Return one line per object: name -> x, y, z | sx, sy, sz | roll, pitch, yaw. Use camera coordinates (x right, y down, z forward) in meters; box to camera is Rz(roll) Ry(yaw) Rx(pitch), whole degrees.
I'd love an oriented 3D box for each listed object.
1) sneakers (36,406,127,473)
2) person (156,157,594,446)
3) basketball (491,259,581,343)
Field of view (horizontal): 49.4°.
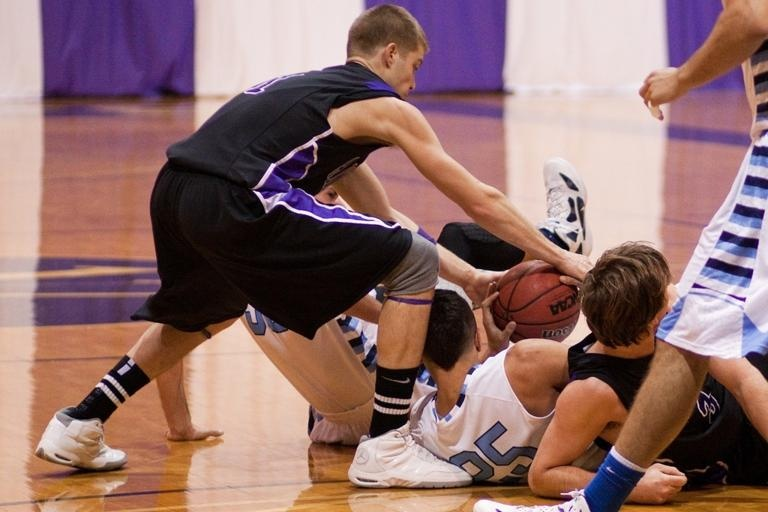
sneakers -> -1.137, 0.720, 3.199 | 0.127, 0.179, 0.372 | -3, -22, 37
person -> -0.033, 0.157, 3.970 | 1.763, 0.990, 1.145 | -6, 4, -19
basketball -> 0.582, 0.141, 3.362 | 0.309, 0.317, 0.317 | -5, 8, -17
